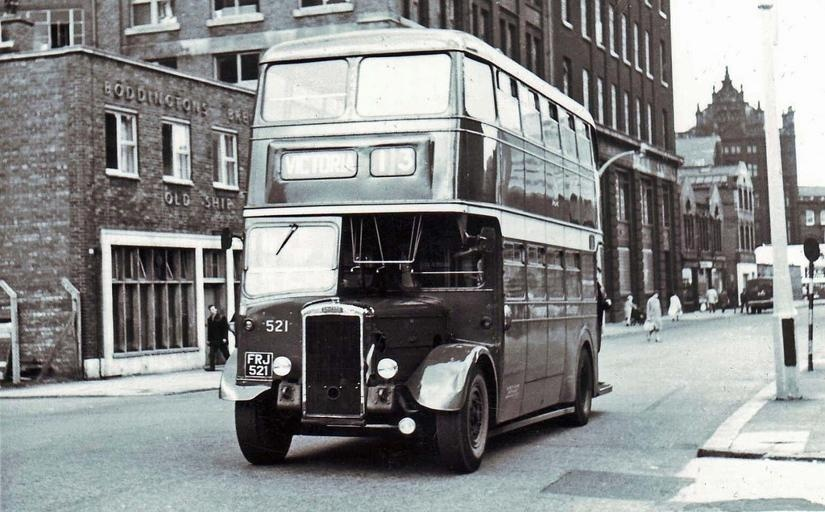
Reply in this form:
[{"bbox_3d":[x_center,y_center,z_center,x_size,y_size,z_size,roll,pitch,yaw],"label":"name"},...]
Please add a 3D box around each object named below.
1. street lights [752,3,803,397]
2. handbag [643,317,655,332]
[{"bbox_3d":[7.380,-1.142,17.527,0.438,5.484,0.892,-3,-2,23],"label":"street lights"},{"bbox_3d":[10.254,3.062,37.673,0.515,0.717,0.361,4,3,-3],"label":"handbag"}]
